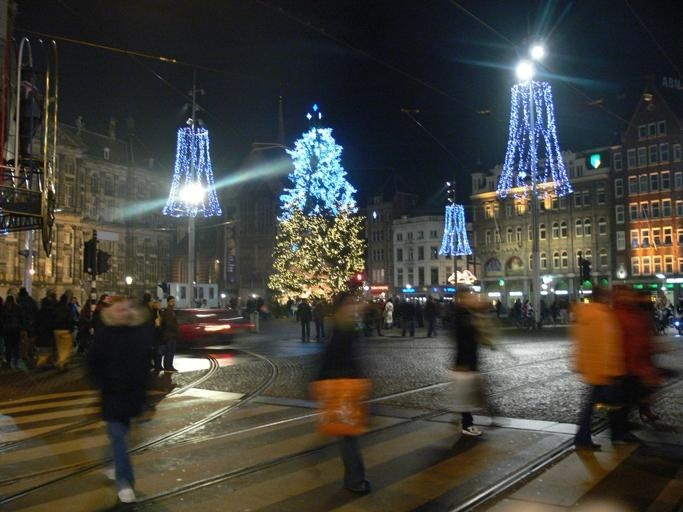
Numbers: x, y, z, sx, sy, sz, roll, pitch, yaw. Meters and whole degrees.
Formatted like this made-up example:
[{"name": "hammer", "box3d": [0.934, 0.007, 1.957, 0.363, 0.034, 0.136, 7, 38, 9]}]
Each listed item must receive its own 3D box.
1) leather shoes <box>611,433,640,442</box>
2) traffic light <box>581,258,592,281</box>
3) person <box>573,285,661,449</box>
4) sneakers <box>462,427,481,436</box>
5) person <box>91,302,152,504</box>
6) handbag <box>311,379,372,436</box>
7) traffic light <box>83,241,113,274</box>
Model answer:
[{"name": "leather shoes", "box3d": [4.009, 2.626, 9.348, 0.192, 0.076, 0.205, 0, -7, 9]}, {"name": "traffic light", "box3d": [10.970, 0.609, 29.469, 0.382, 1.036, 1.404, -4, -3, 19]}, {"name": "person", "box3d": [3.674, 1.549, 8.928, 1.063, 2.225, 0.551, -3, -3, 14]}, {"name": "sneakers", "box3d": [1.932, 2.649, 9.767, 0.280, 0.134, 0.123, 2, -5, 1]}, {"name": "person", "box3d": [-2.548, 1.676, 7.563, 0.686, 2.332, 0.375, -1, -3, -23]}, {"name": "handbag", "box3d": [-0.007, 1.749, 7.761, 0.537, 0.460, 0.509, 9, -16, -11]}, {"name": "traffic light", "box3d": [-7.723, 0.038, 20.685, 0.728, 1.178, 0.745, -1, -3, -24]}]
